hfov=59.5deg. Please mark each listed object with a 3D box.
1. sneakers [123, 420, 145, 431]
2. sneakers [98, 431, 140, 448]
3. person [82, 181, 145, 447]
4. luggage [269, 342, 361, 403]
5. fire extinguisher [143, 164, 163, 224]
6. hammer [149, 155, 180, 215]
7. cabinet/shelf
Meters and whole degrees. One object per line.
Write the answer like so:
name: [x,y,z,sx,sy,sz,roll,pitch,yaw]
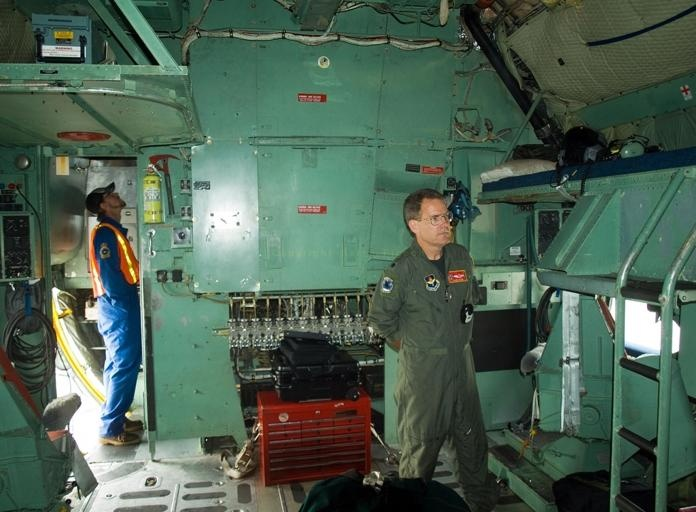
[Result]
sneakers: [-2.371,1.863,6.700,0.218,0.094,0.083,-1,1,-18]
sneakers: [-2.437,1.932,6.493,0.324,0.128,0.168,-1,0,-10]
person: [-2.535,0.648,6.988,0.879,2.878,0.949,6,8,44]
luggage: [-0.326,1.030,5.932,0.771,0.553,0.731,5,4,-29]
fire extinguisher: [-1.959,-0.622,6.068,0.186,0.571,0.185,0,-5,-12]
hammer: [-1.843,-0.707,6.086,0.363,0.606,0.118,-10,-7,8]
cabinet/shelf: [-0.351,1.716,5.974,1.034,0.733,0.532,-1,5,-14]
